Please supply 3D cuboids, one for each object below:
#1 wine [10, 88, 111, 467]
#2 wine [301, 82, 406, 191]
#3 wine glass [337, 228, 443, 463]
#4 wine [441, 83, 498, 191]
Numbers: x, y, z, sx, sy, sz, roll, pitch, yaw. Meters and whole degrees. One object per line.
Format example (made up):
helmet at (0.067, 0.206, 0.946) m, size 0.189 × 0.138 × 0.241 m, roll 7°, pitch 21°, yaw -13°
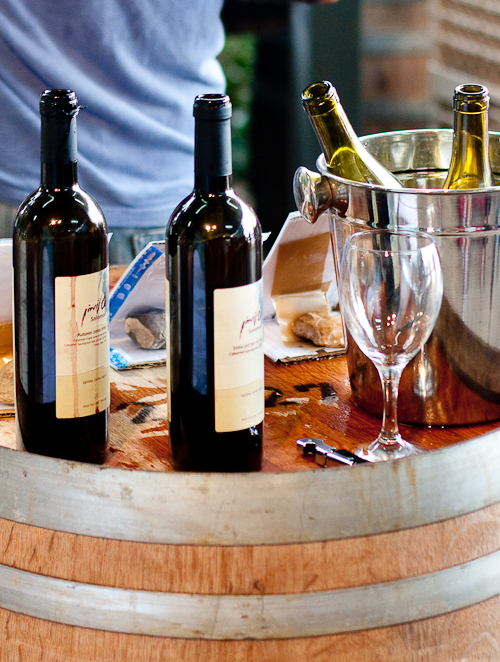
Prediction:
wine at (-0.134, -0.036, 0.521) m, size 0.069 × 0.256 × 0.076 m, roll -2°, pitch 15°, yaw -10°
wine at (0.084, -0.164, 0.616) m, size 0.089 × 0.089 × 0.202 m, roll 3°, pitch 14°, yaw 11°
wine glass at (0.101, 0.009, 0.531) m, size 0.065 × 0.158 × 0.070 m, roll -2°, pitch 15°, yaw -8°
wine at (0.196, -0.169, 0.647) m, size 0.042 × 0.088 × 0.102 m, roll 4°, pitch 15°, yaw 12°
